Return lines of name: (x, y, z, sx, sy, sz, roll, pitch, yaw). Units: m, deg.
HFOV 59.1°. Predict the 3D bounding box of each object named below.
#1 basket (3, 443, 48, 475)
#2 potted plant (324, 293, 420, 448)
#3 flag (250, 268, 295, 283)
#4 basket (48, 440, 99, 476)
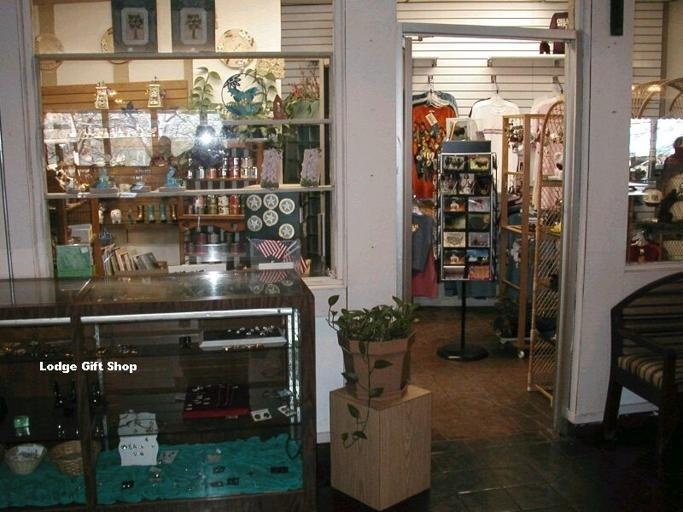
basket: (-1.846, 1.186, 3.527, 0.217, 0.126, 0.206, 2, -4, 3)
potted plant: (0.208, 0.741, 3.743, 0.493, 0.872, 0.426, 2, 13, 1)
flag: (-0.434, 0.132, 3.911, 0.129, 0.047, 0.157, -6, 16, 3)
basket: (-1.569, 1.181, 3.515, 0.245, 0.086, 0.227, -2, 8, -25)
